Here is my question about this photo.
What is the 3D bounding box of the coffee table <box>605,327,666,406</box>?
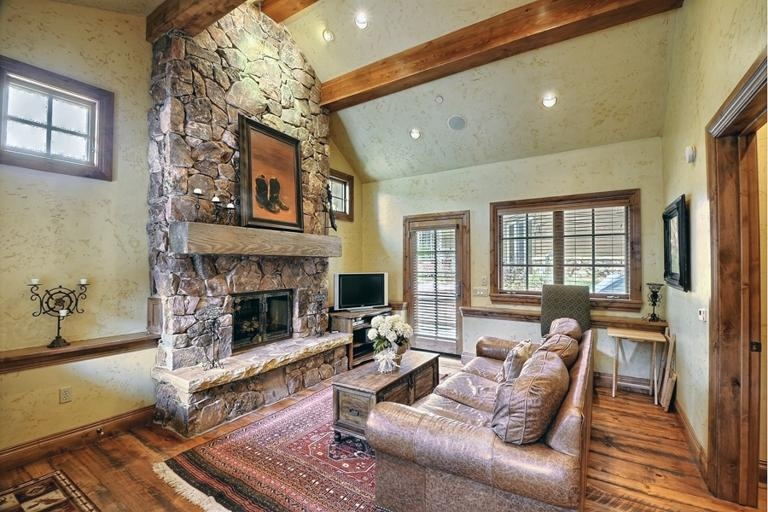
[{"bbox_3d":[3.193,1.381,5.967,0.965,1.120,0.850,0,-3,34],"label":"coffee table"}]

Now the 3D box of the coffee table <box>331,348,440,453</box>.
[{"bbox_3d":[-0.025,1.212,4.973,0.769,0.725,1.596,-1,2,28],"label":"coffee table"}]

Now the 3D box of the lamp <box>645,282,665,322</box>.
[{"bbox_3d":[3.474,0.580,5.803,0.178,0.496,0.288,0,1,31],"label":"lamp"}]

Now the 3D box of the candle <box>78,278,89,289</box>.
[{"bbox_3d":[-3.221,0.285,4.827,0.114,0.103,0.109,-2,1,-7],"label":"candle"}]

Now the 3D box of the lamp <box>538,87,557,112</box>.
[{"bbox_3d":[2.153,-2.060,5.893,0.214,0.182,0.197,0,0,40],"label":"lamp"}]

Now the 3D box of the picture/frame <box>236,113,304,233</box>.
[{"bbox_3d":[-1.458,-1.039,5.825,0.159,1.412,0.942,0,1,40],"label":"picture/frame"}]

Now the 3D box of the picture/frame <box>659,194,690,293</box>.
[{"bbox_3d":[3.334,-0.152,5.159,0.094,1.051,0.850,0,0,20],"label":"picture/frame"}]

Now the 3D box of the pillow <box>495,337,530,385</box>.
[{"bbox_3d":[1.281,1.069,4.537,0.213,0.339,0.516,6,9,39],"label":"pillow"}]

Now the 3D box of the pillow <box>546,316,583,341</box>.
[{"bbox_3d":[1.946,0.757,4.804,0.338,0.243,0.467,-1,6,27],"label":"pillow"}]

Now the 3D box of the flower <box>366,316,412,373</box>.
[{"bbox_3d":[0.042,1.024,5.245,0.641,0.736,0.586,1,-8,-4],"label":"flower"}]
